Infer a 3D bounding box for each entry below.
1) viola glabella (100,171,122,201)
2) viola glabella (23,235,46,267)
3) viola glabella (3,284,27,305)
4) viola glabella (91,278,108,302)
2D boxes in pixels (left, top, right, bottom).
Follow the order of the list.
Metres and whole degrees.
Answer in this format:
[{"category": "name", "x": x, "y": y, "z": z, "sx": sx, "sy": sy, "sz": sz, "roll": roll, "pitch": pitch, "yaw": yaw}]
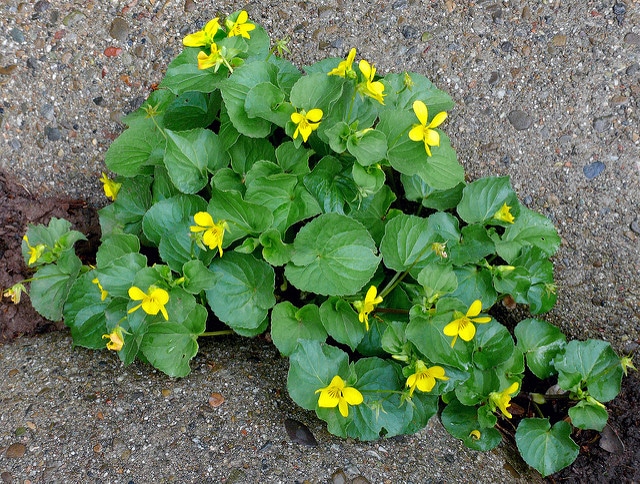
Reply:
[{"category": "viola glabella", "x": -1.417, "y": -0.400, "z": 3.849, "sx": 0.069, "sy": 0.178, "sz": 0.174, "roll": -16, "pitch": 68, "yaw": -31}, {"category": "viola glabella", "x": -1.799, "y": 0.047, "z": 3.577, "sx": 0.143, "sy": 0.064, "sz": 0.150, "roll": -47, "pitch": 45, "yaw": 9}, {"category": "viola glabella", "x": -1.973, "y": 0.334, "z": 3.656, "sx": 0.138, "sy": 0.059, "sz": 0.156, "roll": 13, "pitch": 88, "yaw": 26}, {"category": "viola glabella", "x": -1.295, "y": 0.276, "z": 3.338, "sx": 0.035, "sy": 0.140, "sz": 0.135, "roll": -19, "pitch": 47, "yaw": -27}]
